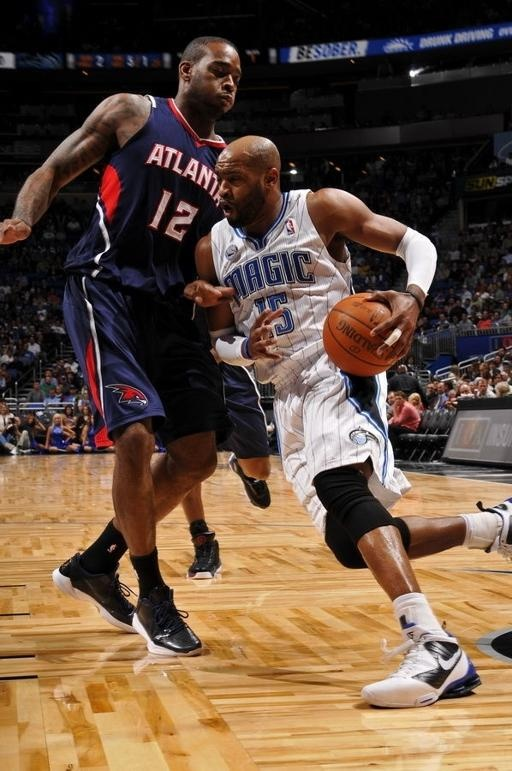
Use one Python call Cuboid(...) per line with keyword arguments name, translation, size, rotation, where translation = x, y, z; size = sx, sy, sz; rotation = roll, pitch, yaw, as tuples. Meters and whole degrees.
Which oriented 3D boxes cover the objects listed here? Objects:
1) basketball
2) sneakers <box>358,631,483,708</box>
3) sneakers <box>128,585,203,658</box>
Cuboid(name="basketball", translation=(0.273, -0.143, 1.562), size=(0.174, 0.188, 0.175), rotation=(18, 15, 33))
Cuboid(name="sneakers", translation=(0.320, 0.574, 1.284), size=(0.287, 0.128, 0.102), rotation=(1, -12, -38))
Cuboid(name="sneakers", translation=(-0.255, 0.644, 1.714), size=(0.106, 0.116, 0.259), rotation=(-2, 3, -27))
